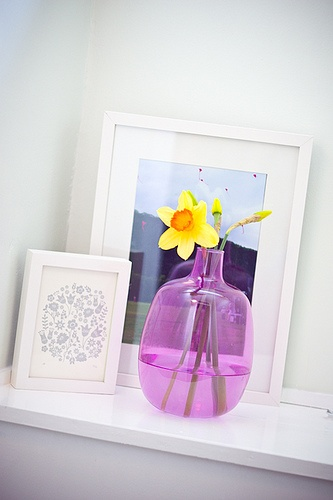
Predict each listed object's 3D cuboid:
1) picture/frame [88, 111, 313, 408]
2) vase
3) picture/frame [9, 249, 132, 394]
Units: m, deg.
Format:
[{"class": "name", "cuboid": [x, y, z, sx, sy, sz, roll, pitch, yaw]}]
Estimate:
[{"class": "picture/frame", "cuboid": [0.082, 0.028, 0.768, 0.495, 0.712, 0.036, 7, -4, 0]}, {"class": "vase", "cuboid": [0.056, 0.152, 0.729, 0.207, 0.318, 0.200, 10, 4, 44]}, {"class": "picture/frame", "cuboid": [-0.185, 0.131, 0.717, 0.218, 0.311, 0.044, 10, -5, -19]}]
